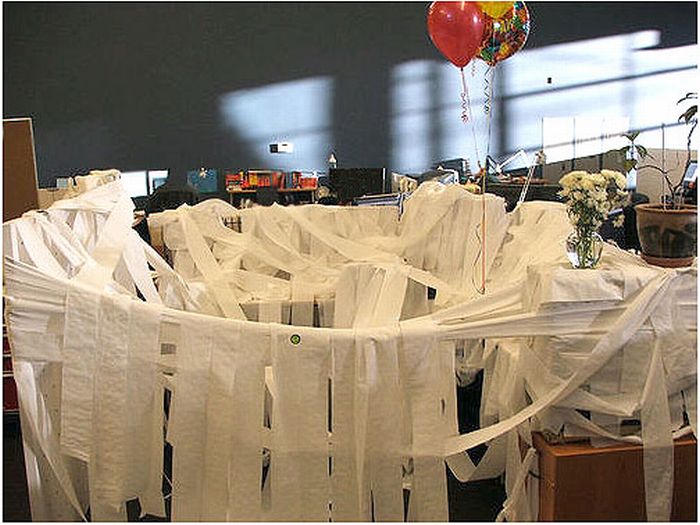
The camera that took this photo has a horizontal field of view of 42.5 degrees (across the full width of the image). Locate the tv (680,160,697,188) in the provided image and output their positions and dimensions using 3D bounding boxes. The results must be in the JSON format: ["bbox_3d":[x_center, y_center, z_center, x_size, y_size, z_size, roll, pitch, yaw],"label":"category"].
[{"bbox_3d":[2.584,-0.681,6.843,0.073,0.327,0.326,4,6,19],"label":"tv"}]

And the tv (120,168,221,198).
[{"bbox_3d":[-2.176,-0.968,10.978,1.152,0.356,0.232,1,-2,-14],"label":"tv"}]

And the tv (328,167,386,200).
[{"bbox_3d":[0.077,-0.707,8.035,0.525,0.309,0.145,-1,-2,27],"label":"tv"}]

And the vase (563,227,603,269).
[{"bbox_3d":[1.397,-0.083,5.379,0.214,0.267,0.212,14,-15,-42],"label":"vase"}]

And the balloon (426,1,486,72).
[{"bbox_3d":[0.688,-1.527,6.066,0.343,0.422,0.405,-2,8,-6],"label":"balloon"}]

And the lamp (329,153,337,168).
[{"bbox_3d":[-0.200,-1.283,11.211,0.127,0.173,0.086,1,-2,-13],"label":"lamp"}]

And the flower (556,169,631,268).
[{"bbox_3d":[1.409,-0.255,5.414,0.389,0.614,0.449,0,3,30],"label":"flower"}]
